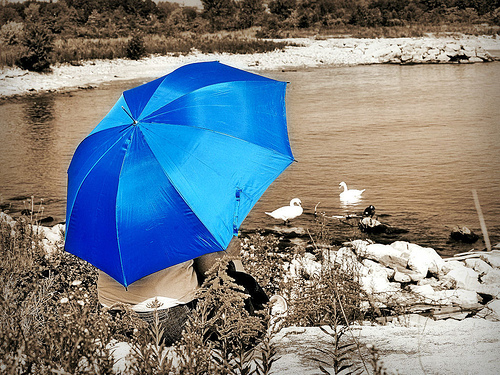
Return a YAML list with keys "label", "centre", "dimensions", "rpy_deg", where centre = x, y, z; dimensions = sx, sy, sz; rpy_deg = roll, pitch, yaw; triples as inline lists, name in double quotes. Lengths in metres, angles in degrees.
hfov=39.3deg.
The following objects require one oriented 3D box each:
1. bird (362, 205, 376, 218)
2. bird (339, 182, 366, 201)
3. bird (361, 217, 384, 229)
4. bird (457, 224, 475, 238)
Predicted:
- label: "bird"
  centre: [2.877, 0.578, 16.993]
  dimensions: [0.275, 0.271, 0.307]
  rpy_deg: [-1, 10, 6]
- label: "bird"
  centre: [2.648, 0.129, 18.161]
  dimensions: [0.613, 0.438, 0.339]
  rpy_deg: [-4, -7, -3]
- label: "bird"
  centre: [2.870, 0.837, 16.633]
  dimensions: [0.459, 0.208, 0.277]
  rpy_deg: [1, 11, 15]
- label: "bird"
  centre: [5.001, 1.009, 16.243]
  dimensions: [0.264, 0.080, 0.290]
  rpy_deg: [32, 31, 26]
